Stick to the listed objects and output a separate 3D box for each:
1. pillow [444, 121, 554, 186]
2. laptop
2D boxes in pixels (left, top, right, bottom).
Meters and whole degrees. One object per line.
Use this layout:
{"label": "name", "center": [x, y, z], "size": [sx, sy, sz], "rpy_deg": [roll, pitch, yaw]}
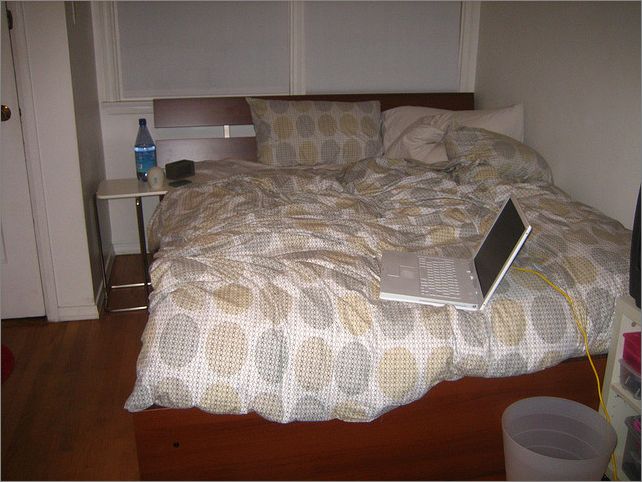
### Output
{"label": "pillow", "center": [0.951, -0.460, 2.576], "size": [0.343, 0.132, 0.433], "rpy_deg": [14, 23, -4]}
{"label": "laptop", "center": [0.446, 0.064, 1.915], "size": [0.527, 0.376, 0.386], "rpy_deg": [7, 35, 2]}
